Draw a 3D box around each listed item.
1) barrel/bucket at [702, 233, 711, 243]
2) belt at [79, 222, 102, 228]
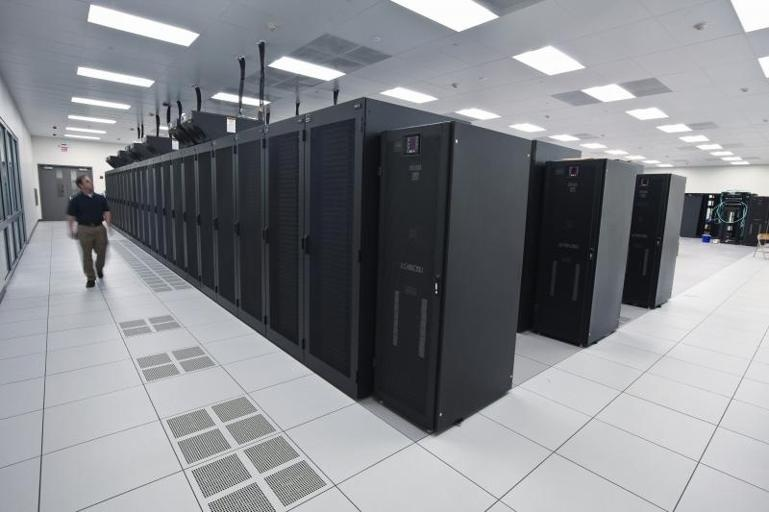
[{"bbox_3d":[12.875,-0.710,18.387,0.317,0.334,0.315,-2,16,1],"label":"barrel/bucket"},{"bbox_3d":[-4.780,-0.494,7.483,0.300,0.083,0.091,-8,14,-30],"label":"belt"}]
